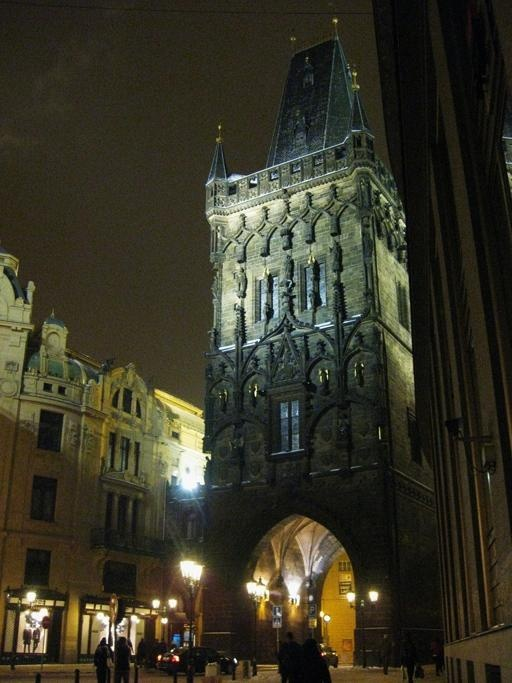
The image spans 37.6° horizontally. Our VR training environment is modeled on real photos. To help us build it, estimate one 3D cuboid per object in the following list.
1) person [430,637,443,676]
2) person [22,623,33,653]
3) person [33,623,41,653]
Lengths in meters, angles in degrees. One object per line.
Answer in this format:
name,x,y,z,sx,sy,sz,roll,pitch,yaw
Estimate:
person,6.416,11.055,26.499,0.343,1.225,1.561,-4,-24,12
person,-10.905,14.119,35.694,0.309,1.124,0.558,-3,-24,9
person,-10.601,14.198,36.056,0.223,1.197,0.555,-5,-25,14
